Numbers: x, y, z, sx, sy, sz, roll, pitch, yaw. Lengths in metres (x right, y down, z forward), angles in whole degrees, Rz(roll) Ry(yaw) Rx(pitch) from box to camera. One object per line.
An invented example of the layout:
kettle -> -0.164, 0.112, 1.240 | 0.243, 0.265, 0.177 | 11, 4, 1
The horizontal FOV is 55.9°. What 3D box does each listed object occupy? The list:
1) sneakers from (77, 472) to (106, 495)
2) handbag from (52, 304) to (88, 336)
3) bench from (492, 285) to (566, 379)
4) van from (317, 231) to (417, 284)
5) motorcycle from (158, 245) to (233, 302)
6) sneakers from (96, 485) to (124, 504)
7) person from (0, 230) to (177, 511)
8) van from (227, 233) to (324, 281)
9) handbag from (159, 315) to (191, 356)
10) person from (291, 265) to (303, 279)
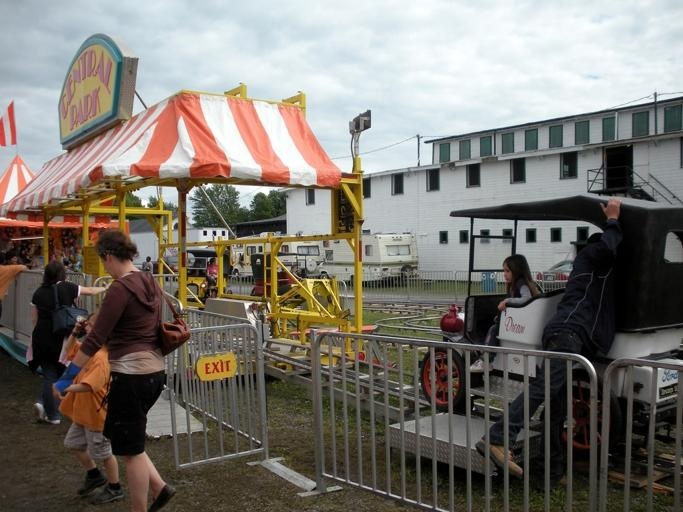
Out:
sneakers -> -2.564, 2.344, 6.613 | 0.301, 0.136, 0.137 | -26, 18, -31
handbag -> -3.318, 0.781, 7.730 | 0.286, 0.345, 0.411 | -2, -3, 28
bench -> 2.298, 0.921, 7.436 | 0.725, 1.040, 0.685 | 3, 0, -32
van -> 1.746, 0.071, 27.919 | 4.591, 2.076, 11.370 | 0, 2, -8
motorcycle -> -5.228, 0.419, 23.023 | 1.818, 1.951, 3.120 | 14, 19, -3
sneakers -> -2.315, 2.380, 6.376 | 0.260, 0.155, 0.131 | 3, -3, -9
person -> -1.943, 1.099, 5.824 | 0.883, 2.678, 0.533 | 0, 2, -13
van -> -3.795, -0.054, 32.902 | 5.628, 2.330, 2.184 | 0, 2, 15
handbag -> -1.614, 0.718, 5.936 | 0.318, 0.299, 0.320 | 14, -12, -9
person -> -1.807, 0.628, 25.859 | 0.567, 0.273, 0.759 | 5, 15, -5
